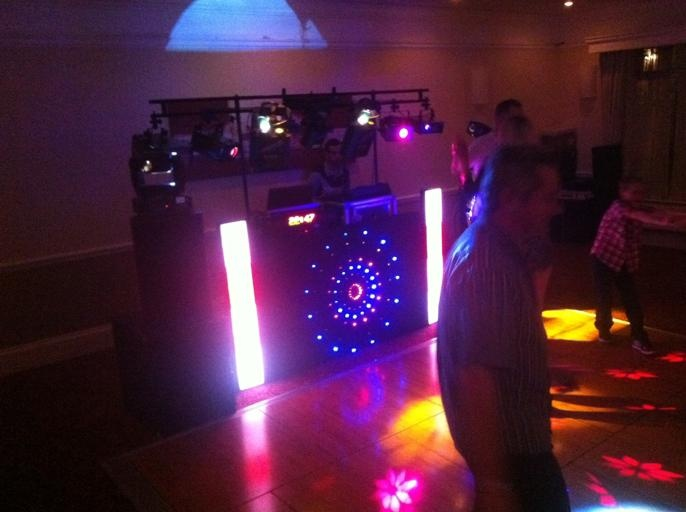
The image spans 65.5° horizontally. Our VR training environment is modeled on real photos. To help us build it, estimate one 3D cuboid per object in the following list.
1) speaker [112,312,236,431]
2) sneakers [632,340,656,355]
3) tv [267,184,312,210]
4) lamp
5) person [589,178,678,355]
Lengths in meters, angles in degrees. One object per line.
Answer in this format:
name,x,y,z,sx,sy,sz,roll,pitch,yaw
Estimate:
speaker,-1.370,0.946,4.378,0.683,1.046,0.546,-15,1,36
sneakers,2.858,0.867,5.078,0.079,0.076,0.180,-9,13,-24
tv,-0.553,-0.600,5.240,0.384,0.275,0.273,-7,10,-20
lamp,-0.448,-1.365,6.442,3.416,1.302,0.651,-5,9,-7
person,2.713,0.191,5.077,0.675,1.407,0.402,9,19,34
